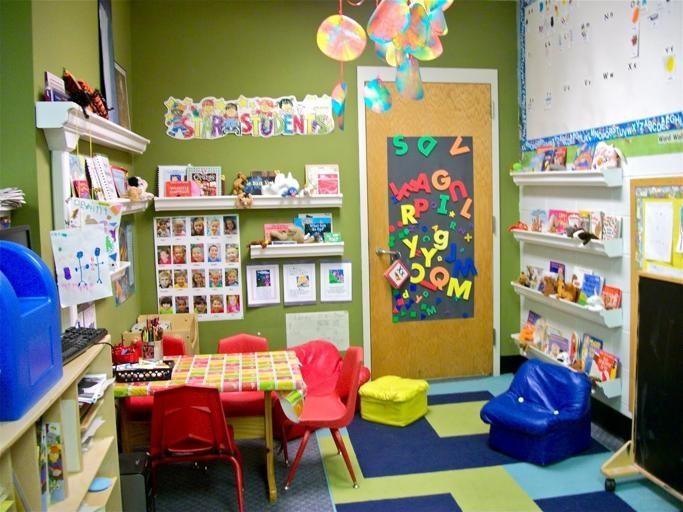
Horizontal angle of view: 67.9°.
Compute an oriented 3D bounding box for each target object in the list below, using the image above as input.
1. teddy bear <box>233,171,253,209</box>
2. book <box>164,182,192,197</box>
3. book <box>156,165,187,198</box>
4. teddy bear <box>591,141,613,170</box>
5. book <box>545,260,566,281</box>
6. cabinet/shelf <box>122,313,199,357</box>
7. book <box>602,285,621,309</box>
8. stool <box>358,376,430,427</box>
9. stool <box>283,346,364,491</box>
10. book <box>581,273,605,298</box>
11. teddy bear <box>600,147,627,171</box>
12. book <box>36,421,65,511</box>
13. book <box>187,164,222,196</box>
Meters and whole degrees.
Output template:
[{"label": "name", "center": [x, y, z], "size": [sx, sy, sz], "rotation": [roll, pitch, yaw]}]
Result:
[{"label": "teddy bear", "center": [-0.842, -0.547, 4.336], "size": [0.159, 0.303, 0.123], "rotation": [-6, -6, -28]}, {"label": "book", "center": [-1.362, -0.566, 4.334], "size": [0.173, 0.137, 0.041], "rotation": [1, 0, 0]}, {"label": "book", "center": [-1.412, -0.625, 4.286], "size": [0.236, 0.271, 0.036], "rotation": [0, 4, -1]}, {"label": "teddy bear", "center": [1.831, -0.691, 3.585], "size": [0.135, 0.190, 0.054], "rotation": [6, -3, 37]}, {"label": "book", "center": [1.758, 0.121, 4.211], "size": [0.019, 0.154, 0.154], "rotation": [-3, 9, -12]}, {"label": "cabinet/shelf", "center": [-1.318, 0.579, 4.032], "size": [0.354, 0.251, 0.375], "rotation": [0, 1, -1]}, {"label": "book", "center": [1.897, 0.292, 3.626], "size": [0.066, 0.153, 0.159], "rotation": [-3, 11, -9]}, {"label": "stool", "center": [0.404, 1.161, 4.081], "size": [0.358, 0.198, 0.378], "rotation": [0, 3, 30]}, {"label": "stool", "center": [-0.056, 1.055, 3.733], "size": [0.707, 1.142, 0.753], "rotation": [1, -1, -8]}, {"label": "book", "center": [1.846, 0.219, 3.794], "size": [0.032, 0.139, 0.139], "rotation": [2, 7, -18]}, {"label": "teddy bear", "center": [1.868, -0.680, 3.513], "size": [0.126, 0.137, 0.067], "rotation": [3, 11, 22]}, {"label": "book", "center": [-1.134, 0.839, 2.016], "size": [0.091, 0.386, 0.141], "rotation": [-7, 12, -30]}, {"label": "book", "center": [-1.154, -0.631, 4.303], "size": [0.239, 0.250, 0.036], "rotation": [0, 2, -2]}]
